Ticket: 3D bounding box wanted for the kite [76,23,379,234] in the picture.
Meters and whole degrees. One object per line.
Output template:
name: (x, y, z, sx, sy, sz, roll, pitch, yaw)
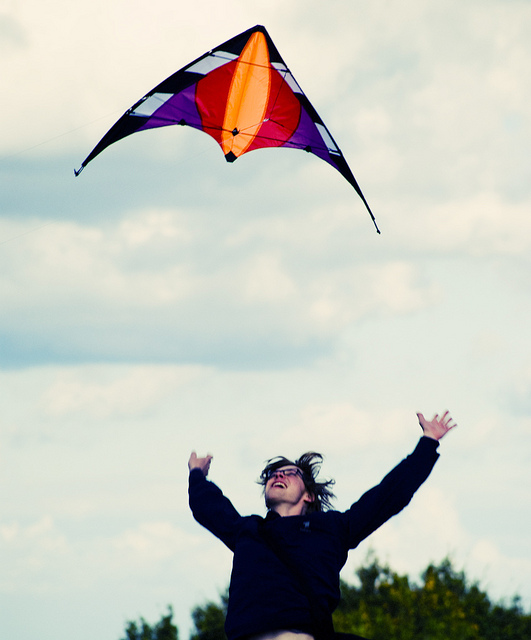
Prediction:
kite: (-0.259, -2.060, 15.126, 1.888, 1.428, 2.325, -15, -23, 36)
